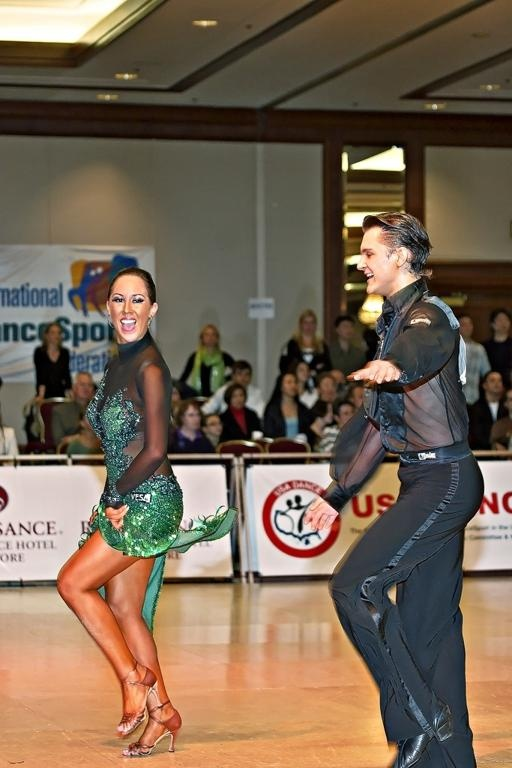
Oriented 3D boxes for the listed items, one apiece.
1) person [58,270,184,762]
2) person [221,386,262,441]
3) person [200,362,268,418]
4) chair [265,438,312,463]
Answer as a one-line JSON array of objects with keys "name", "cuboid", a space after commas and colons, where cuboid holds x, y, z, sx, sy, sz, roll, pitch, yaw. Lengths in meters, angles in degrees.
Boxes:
[{"name": "person", "cuboid": [-0.466, 0.420, 2.677, 0.396, 1.704, 0.438, 0, -8, -4]}, {"name": "person", "cuboid": [-0.202, 0.334, 9.291, 0.578, 0.695, 0.325, 2, -8, -19]}, {"name": "person", "cuboid": [-0.357, 0.089, 10.464, 0.841, 1.044, 0.378, 5, -16, -10]}, {"name": "chair", "cuboid": [0.316, 0.681, 8.024, 0.431, 0.266, 0.748, -1, -7, 2]}]
